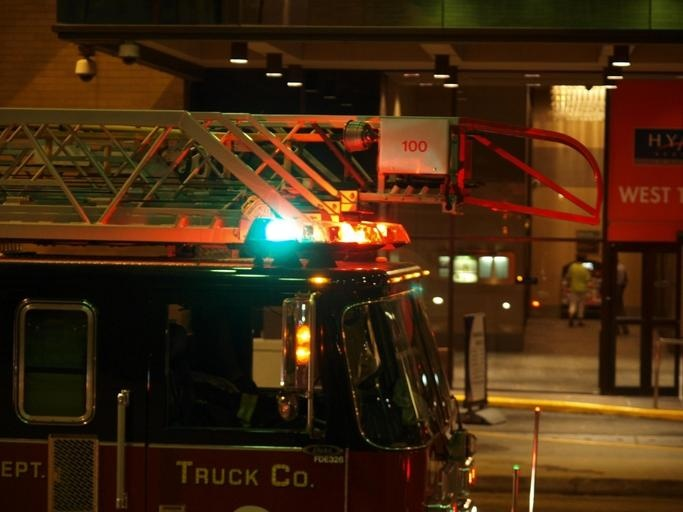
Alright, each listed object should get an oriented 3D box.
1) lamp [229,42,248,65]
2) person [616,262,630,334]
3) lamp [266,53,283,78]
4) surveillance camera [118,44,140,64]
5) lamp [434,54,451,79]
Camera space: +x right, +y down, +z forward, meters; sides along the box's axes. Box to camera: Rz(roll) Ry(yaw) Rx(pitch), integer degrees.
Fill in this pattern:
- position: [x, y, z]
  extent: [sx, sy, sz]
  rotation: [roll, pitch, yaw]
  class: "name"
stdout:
- position: [-1.754, -3.374, 22.359]
  extent: [0.331, 0.440, 0.332]
  rotation: [-1, 5, 2]
  class: "lamp"
- position: [5.174, 0.759, 24.698]
  extent: [0.212, 1.344, 0.163]
  rotation: [0, -4, 12]
  class: "person"
- position: [-1.194, -3.384, 23.712]
  extent: [0.354, 0.513, 0.357]
  rotation: [0, 3, 3]
  class: "lamp"
- position: [-3.510, -3.336, 22.114]
  extent: [0.314, 0.300, 0.318]
  rotation: [-1, -5, 8]
  class: "surveillance camera"
- position: [1.759, -3.331, 23.506]
  extent: [0.250, 0.379, 0.377]
  rotation: [1, -4, 6]
  class: "lamp"
